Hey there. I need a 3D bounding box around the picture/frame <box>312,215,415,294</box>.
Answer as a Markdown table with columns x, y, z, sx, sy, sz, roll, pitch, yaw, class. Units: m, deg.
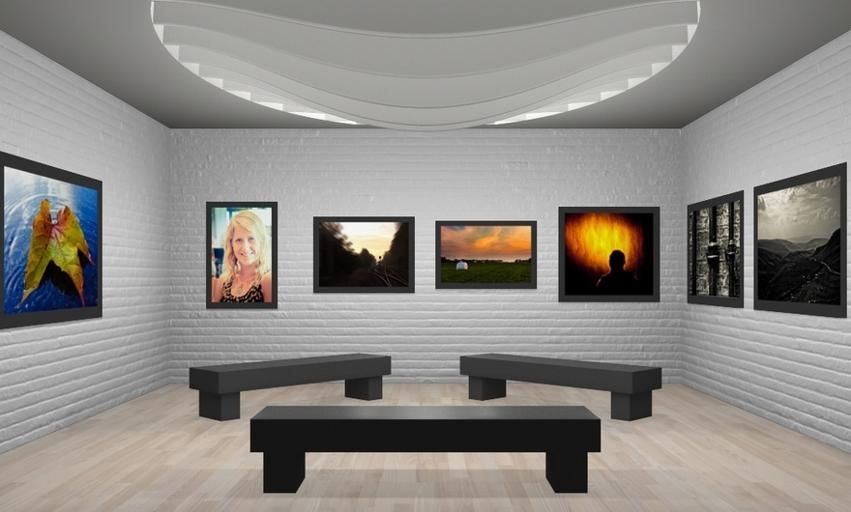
| x | y | z | sx | sy | sz | roll | pitch | yaw | class |
| --- | --- | --- | --- | --- | --- | --- | --- | --- | --- |
| -1.082 | 0.033 | 9.050 | 1.531 | 1.002 | 0.058 | 0 | -4 | 0 | picture/frame |
